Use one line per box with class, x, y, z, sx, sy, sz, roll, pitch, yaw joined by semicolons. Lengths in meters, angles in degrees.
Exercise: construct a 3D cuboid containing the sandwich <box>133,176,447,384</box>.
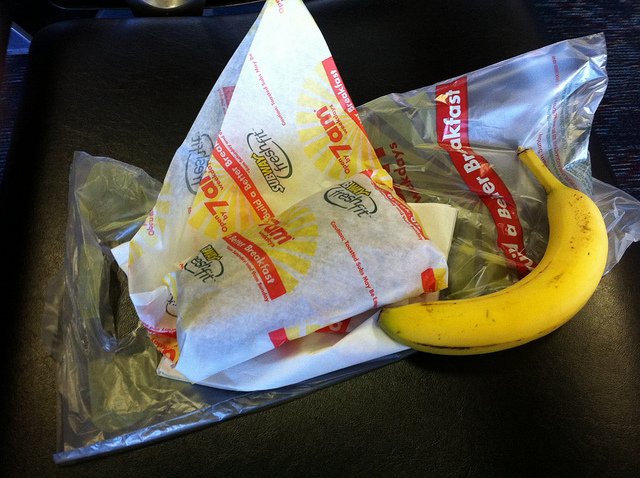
sandwich;-0.039;0.046;0.693;0.380;0.114;0.210;-21;56;-13
